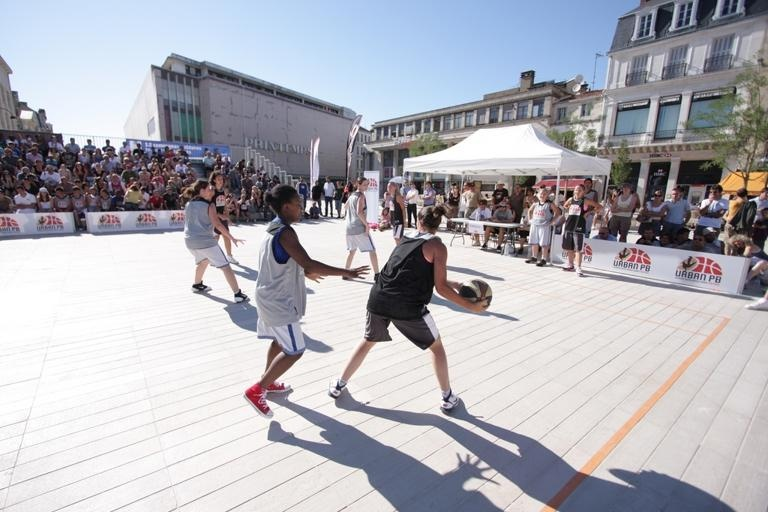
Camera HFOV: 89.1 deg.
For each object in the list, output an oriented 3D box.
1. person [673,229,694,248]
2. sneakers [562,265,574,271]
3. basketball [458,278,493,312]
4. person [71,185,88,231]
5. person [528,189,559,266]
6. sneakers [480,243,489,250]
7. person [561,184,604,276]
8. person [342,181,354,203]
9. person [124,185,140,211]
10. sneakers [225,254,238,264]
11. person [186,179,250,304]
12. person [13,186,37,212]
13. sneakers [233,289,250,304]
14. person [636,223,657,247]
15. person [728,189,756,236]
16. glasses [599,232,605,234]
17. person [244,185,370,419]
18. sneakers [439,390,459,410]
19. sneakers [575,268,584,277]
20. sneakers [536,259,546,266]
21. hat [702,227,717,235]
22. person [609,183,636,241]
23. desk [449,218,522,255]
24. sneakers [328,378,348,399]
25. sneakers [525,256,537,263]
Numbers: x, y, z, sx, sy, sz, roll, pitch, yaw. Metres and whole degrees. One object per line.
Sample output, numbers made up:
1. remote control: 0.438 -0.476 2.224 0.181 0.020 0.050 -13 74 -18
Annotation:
1. person: 6.835 -0.421 9.073 0.345 0.447 0.783 11 13 37
2. sneakers: 4.441 0.291 9.504 0.299 0.131 0.103 5 3 5
3. basketball: 1.067 0.453 4.581 0.370 0.313 0.295 5 5 -5
4. person: -9.430 -1.523 12.278 0.366 1.335 0.515 -7 14 -37
5. person: 3.952 -0.743 9.882 0.643 1.947 0.878 6 12 17
6. sneakers: 2.969 -0.286 11.750 0.119 0.200 0.198 4 6 35
7. person: 4.509 -0.645 9.240 0.695 2.068 0.797 11 14 38
8. person: -1.648 -2.983 17.886 0.316 1.058 0.631 11 5 -24
9. person: -8.268 -1.982 13.054 0.547 0.816 0.340 -6 14 -36
10. sneakers: -3.447 0.063 8.923 0.428 0.209 0.152 7 10 19
11. person: -3.003 -0.289 6.905 1.208 2.069 0.663 9 13 32
12. person: -10.298 -1.677 11.367 0.509 0.745 0.801 -8 15 -42
13. sneakers: -2.471 0.701 6.868 0.148 0.194 0.284 9 19 34
14. person: 6.497 -0.567 9.750 0.386 0.472 0.735 9 13 32
15. person: 8.163 -0.996 9.020 0.464 1.078 0.801 8 13 29
16. glasses: 5.495 -0.600 10.021 0.077 0.025 0.074 7 0 -11
17. person: -1.083 0.523 4.500 0.954 2.649 0.491 1 11 -8
18. sneakers: 0.786 1.714 4.761 0.123 0.210 0.304 4 14 34
19. sneakers: 4.473 0.394 9.102 0.258 0.117 0.118 12 -13 -39
20. sneakers: 3.978 0.187 10.019 0.129 0.119 0.282 -4 -4 38
21. hat: 7.252 -0.585 8.810 0.242 0.118 0.178 20 -25 -41
22. person: 6.181 -1.023 10.321 0.513 1.683 0.573 -3 13 -28
23. desk: 2.969 -0.593 11.903 2.056 0.741 0.711 11 5 41
24. sneakers: -0.572 1.626 4.773 0.129 0.144 0.322 33 -4 -3
25. sneakers: 3.812 0.101 10.252 0.352 0.155 0.130 4 6 33
